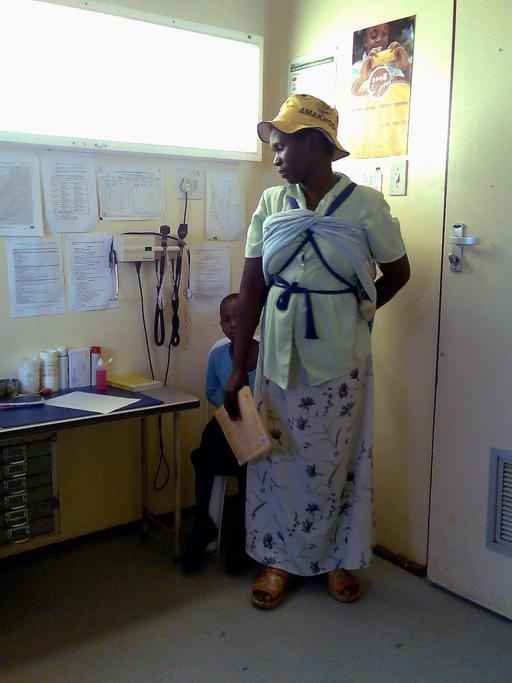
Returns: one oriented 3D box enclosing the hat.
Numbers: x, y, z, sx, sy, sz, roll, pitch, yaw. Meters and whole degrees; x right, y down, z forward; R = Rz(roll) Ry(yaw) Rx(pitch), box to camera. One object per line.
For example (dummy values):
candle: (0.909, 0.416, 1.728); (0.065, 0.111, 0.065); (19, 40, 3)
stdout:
hat: (0.135, -0.621, 1.517); (0.232, 0.147, 0.181); (-1, 17, -38)

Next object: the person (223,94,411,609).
person: (0.180, 0.090, 1.666); (0.548, 1.553, 0.377); (0, 4, -4)

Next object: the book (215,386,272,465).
book: (-0.056, 0.283, 1.639); (0.061, 0.217, 0.205); (-7, -21, -30)
